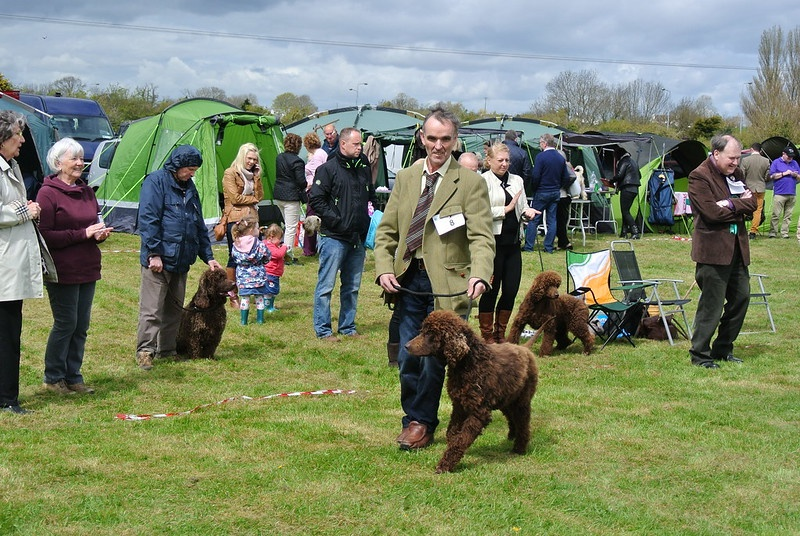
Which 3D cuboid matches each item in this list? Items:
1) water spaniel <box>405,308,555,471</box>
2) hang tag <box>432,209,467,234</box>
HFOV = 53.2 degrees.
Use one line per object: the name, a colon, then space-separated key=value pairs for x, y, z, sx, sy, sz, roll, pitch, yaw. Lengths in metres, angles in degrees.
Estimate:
water spaniel: x=0.867 y=1.147 z=7.889 sx=1.496 sy=1.489 sz=0.587 roll=-2 pitch=6 yaw=-27
hang tag: x=0.466 y=-0.454 z=7.819 sx=0.210 sy=0.149 sz=0.031 roll=-18 pitch=-4 yaw=-9
